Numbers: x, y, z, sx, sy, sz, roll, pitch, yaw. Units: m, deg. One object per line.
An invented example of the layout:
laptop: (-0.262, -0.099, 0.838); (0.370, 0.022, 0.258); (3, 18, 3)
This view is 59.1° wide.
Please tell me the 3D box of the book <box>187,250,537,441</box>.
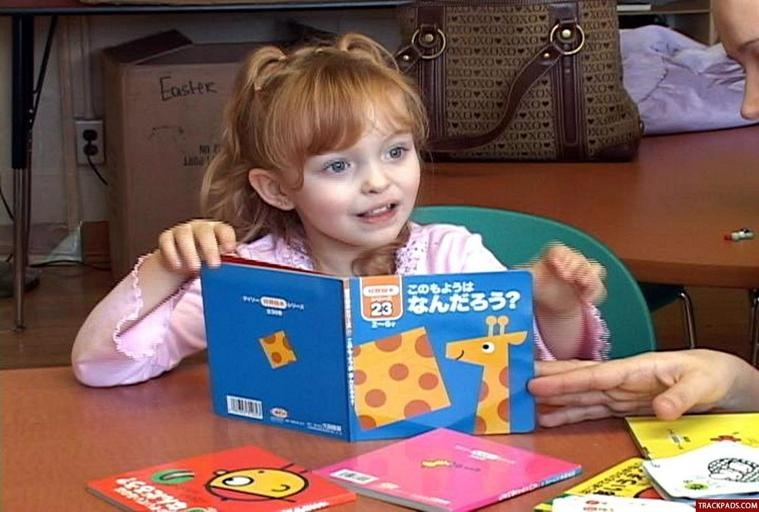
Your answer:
book: (0.015, 0.058, 0.934); (0.367, 0.235, 0.076); (1, 14, 8)
